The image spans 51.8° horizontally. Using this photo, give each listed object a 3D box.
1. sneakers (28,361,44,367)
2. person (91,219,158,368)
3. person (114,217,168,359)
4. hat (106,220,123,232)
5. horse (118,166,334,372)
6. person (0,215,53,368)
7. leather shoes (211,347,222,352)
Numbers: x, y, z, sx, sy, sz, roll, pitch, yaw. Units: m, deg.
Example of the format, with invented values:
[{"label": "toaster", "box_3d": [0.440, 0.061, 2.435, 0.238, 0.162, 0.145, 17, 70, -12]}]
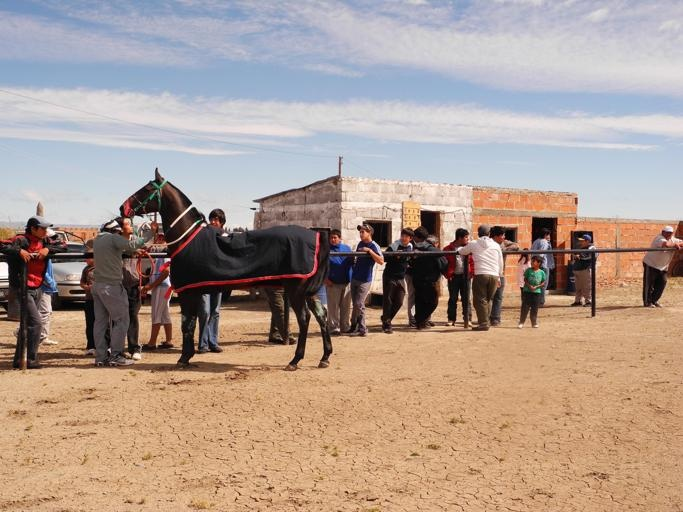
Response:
[{"label": "sneakers", "box_3d": [-4.037, 1.425, 9.290, 0.122, 0.048, 0.145, 2, -2, -20]}, {"label": "person", "box_3d": [-2.960, 0.482, 9.371, 0.693, 1.957, 0.601, -4, 10, -25]}, {"label": "person", "box_3d": [-2.854, 0.466, 9.489, 1.073, 1.860, 0.764, -2, -6, -6]}, {"label": "hat", "box_3d": [-3.008, -0.389, 9.261, 0.238, 0.161, 0.194, -7, 11, -41]}, {"label": "horse", "box_3d": [-1.491, 0.196, 9.440, 3.099, 2.149, 0.811, 1, -3, 10]}, {"label": "person", "box_3d": [-4.064, 0.477, 9.212, 0.593, 1.989, 0.420, -8, 13, -41]}, {"label": "leather shoes", "box_3d": [-1.871, 1.414, 10.594, 0.176, 0.061, 0.059, -4, -1, 0]}]
